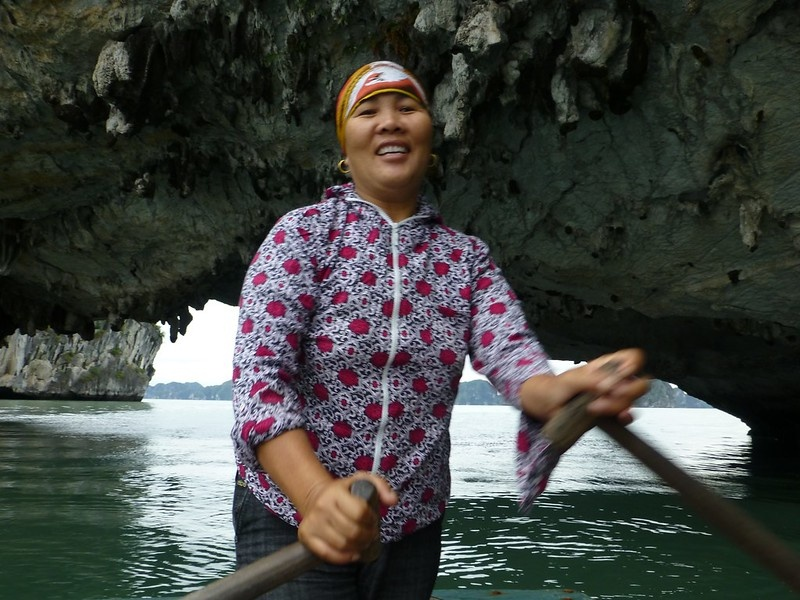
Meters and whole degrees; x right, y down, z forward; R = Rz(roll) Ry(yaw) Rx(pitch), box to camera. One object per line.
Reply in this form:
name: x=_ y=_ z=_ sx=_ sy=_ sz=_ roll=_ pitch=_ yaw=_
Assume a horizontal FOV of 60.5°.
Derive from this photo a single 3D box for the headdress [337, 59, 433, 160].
headdress: x=-0.079 y=-0.769 z=2.818 sx=0.496 sy=0.338 sz=0.172 roll=-10 pitch=19 yaw=-11
